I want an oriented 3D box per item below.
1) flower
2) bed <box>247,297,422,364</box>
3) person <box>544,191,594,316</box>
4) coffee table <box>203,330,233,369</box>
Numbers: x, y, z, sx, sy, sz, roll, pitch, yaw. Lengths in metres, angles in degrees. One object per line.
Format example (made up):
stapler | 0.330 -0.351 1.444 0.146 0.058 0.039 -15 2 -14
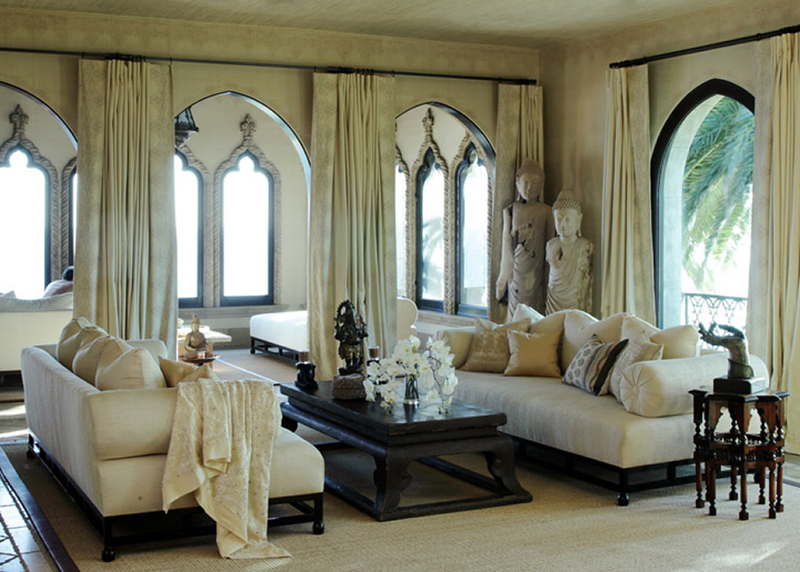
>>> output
flower | 0.095 0.613 5.644 0.628 0.456 0.621 5 10 32
bed | -1.120 0.623 10.343 1.115 1.057 1.778 0 2 -33
person | 1.885 -0.345 8.203 0.500 1.347 0.395 -1 9 -10
coffee table | -2.407 0.851 9.805 0.492 0.468 0.484 1 -1 -28
